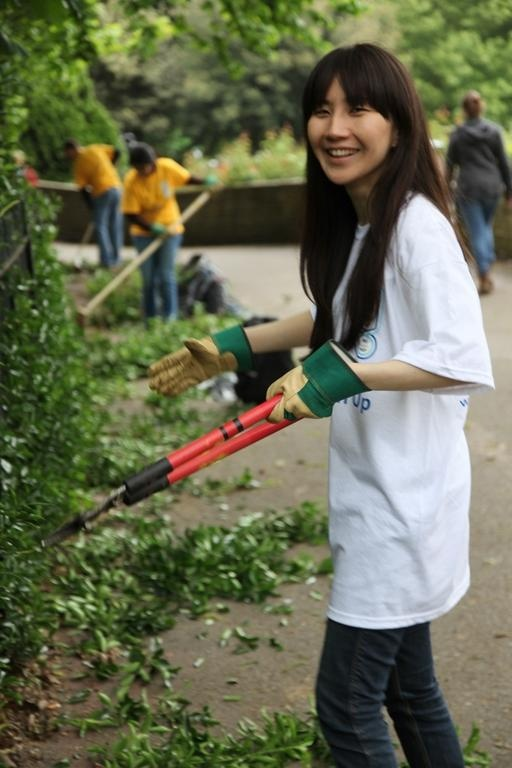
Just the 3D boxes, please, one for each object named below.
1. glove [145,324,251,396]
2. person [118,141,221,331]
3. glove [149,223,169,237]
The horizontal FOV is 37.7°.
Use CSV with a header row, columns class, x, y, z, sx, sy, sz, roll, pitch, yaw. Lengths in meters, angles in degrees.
class,x,y,z,sx,sy,sz,roll,pitch,yaw
glove,-0.166,-0.058,2.193,0.292,0.103,0.186,-28,-6,12
person,-0.461,-0.761,3.759,0.357,0.769,0.333,-1,4,-10
glove,-0.475,-0.753,3.663,0.067,0.054,0.022,-5,-9,-36
